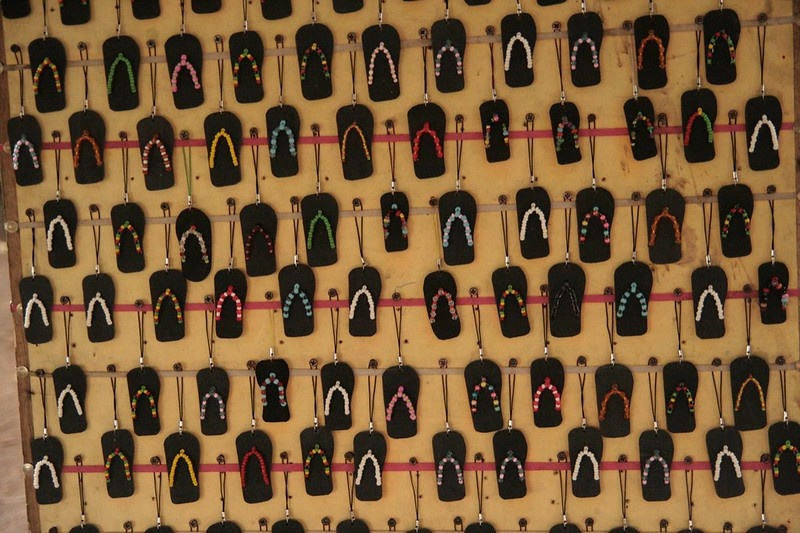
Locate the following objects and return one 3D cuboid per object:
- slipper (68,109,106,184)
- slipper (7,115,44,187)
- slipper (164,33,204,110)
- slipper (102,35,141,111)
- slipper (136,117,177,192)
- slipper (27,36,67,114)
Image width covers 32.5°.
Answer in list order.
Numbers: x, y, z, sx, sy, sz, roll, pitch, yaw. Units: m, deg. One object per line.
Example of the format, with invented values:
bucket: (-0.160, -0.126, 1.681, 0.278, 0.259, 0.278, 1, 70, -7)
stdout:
slipper: (-1.626, -0.612, 7.087, 0.188, 0.371, 0.099, 1, 2, 1)
slipper: (-1.953, -0.603, 7.152, 0.164, 0.373, 0.085, -3, 8, -7)
slipper: (-1.118, -1.000, 7.065, 0.192, 0.343, 0.176, -1, -24, 1)
slipper: (-1.444, -0.991, 7.079, 0.190, 0.348, 0.176, -1, -24, 1)
slipper: (-1.268, -0.577, 7.081, 0.182, 0.373, 0.104, -2, 9, -3)
slipper: (-1.836, -0.985, 7.092, 0.195, 0.344, 0.175, 1, -24, -5)
